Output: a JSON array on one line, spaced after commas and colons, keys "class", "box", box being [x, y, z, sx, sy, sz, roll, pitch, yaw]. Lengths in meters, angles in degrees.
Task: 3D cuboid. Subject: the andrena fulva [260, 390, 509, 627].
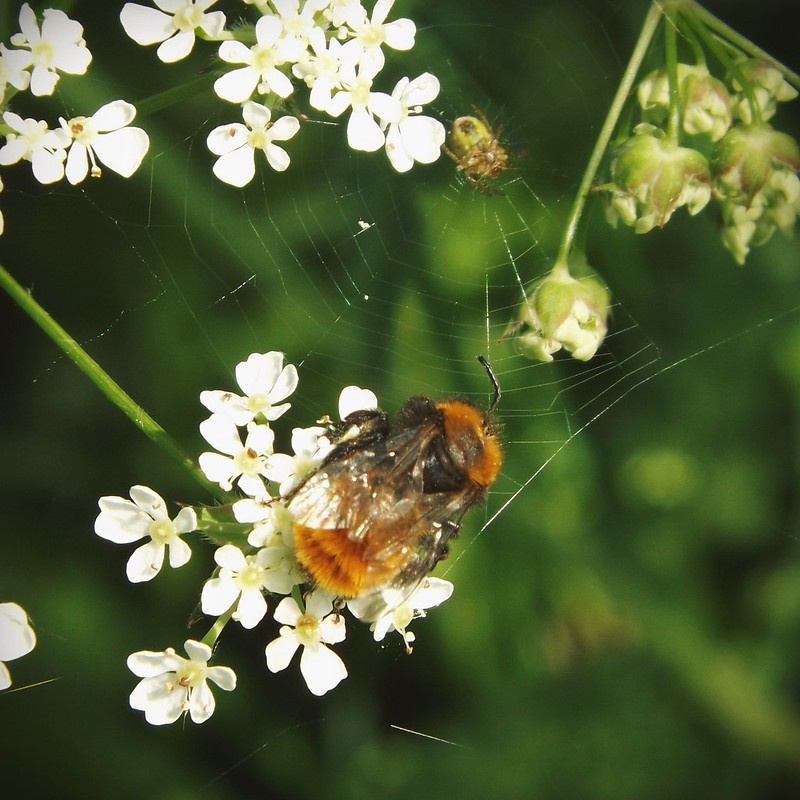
[{"class": "andrena fulva", "box": [-0.031, 0.149, 1.338, 0.219, 0.089, 0.302, 51, 58, -9]}]
